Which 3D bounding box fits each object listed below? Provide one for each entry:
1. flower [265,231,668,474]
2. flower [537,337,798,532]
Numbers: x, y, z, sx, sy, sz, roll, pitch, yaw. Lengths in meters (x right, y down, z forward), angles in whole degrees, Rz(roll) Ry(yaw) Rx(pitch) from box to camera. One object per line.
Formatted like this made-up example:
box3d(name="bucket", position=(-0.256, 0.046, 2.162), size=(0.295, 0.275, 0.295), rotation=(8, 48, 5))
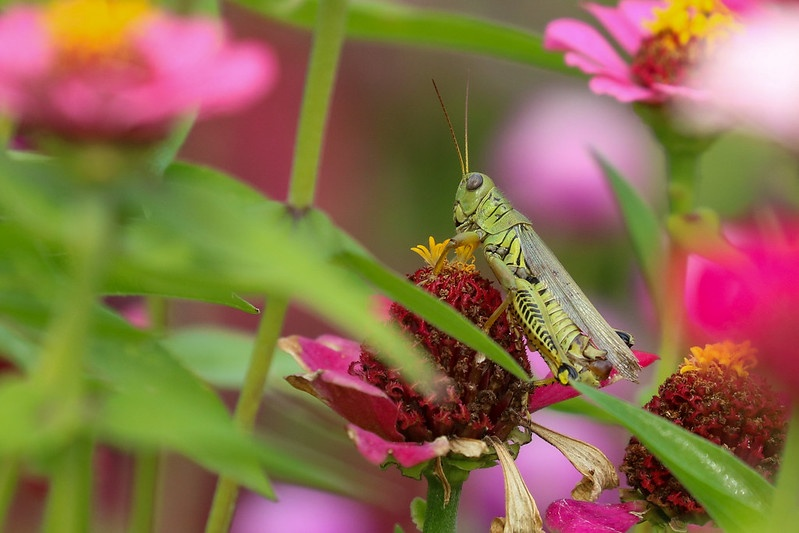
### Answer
box3d(name="flower", position=(0.031, 0.095, 0.648), size=(0.197, 0.135, 0.207), rotation=(14, 0, 1))
box3d(name="flower", position=(0.210, 0.142, 0.718), size=(0.202, 0.116, 0.129), rotation=(-36, 26, -24))
